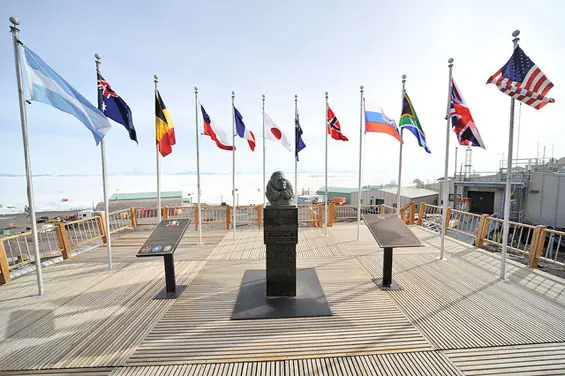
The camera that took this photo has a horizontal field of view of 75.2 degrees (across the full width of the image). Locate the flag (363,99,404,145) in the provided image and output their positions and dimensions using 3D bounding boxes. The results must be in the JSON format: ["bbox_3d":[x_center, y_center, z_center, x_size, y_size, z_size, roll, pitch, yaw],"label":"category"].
[{"bbox_3d":[4.538,-3.105,16.627,1.942,2.089,0.187,9,-24,-2],"label":"flag"}]

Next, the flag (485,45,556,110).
[{"bbox_3d":[8.403,-4.133,12.898,0.251,2.782,2.450,-44,45,-9],"label":"flag"}]

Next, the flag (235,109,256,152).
[{"bbox_3d":[-1.778,-2.721,17.020,0.889,1.415,1.599,-4,2,-6],"label":"flag"}]

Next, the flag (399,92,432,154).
[{"bbox_3d":[5.710,-2.899,16.031,1.038,2.752,1.320,-2,3,39],"label":"flag"}]

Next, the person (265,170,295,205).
[{"bbox_3d":[-0.121,0.000,13.327,0.987,1.226,0.634,-4,2,-5],"label":"person"}]

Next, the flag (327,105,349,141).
[{"bbox_3d":[2.483,-3.010,17.004,0.793,1.661,1.033,-3,2,8],"label":"flag"}]

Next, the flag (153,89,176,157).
[{"bbox_3d":[-5.341,-2.869,16.463,0.763,2.408,0.822,-4,2,-18],"label":"flag"}]
